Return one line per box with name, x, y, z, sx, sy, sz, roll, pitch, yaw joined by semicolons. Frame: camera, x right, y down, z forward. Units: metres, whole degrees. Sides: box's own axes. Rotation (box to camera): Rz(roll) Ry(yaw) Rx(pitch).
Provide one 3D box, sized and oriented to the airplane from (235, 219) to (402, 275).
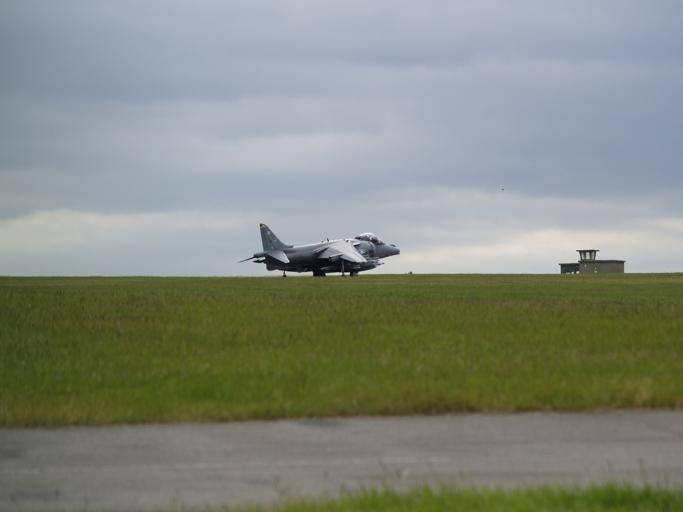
airplane;1.443;-0.313;83.334;12.632;2.815;6.198;0;-1;7
